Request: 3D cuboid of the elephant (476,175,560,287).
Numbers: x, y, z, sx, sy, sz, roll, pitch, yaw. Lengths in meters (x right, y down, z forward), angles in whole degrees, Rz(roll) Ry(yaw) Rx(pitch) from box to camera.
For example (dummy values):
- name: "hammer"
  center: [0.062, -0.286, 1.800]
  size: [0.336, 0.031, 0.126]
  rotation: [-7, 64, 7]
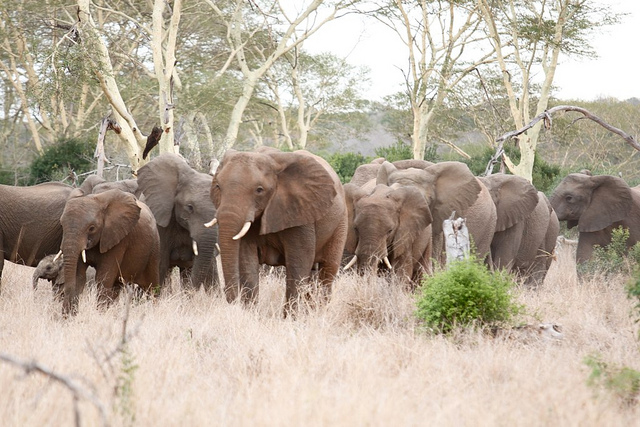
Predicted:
- name: "elephant"
  center: [3.514, 0.332, 11.768]
  size: [1.077, 1.119, 1.917]
  rotation: [4, -5, 33]

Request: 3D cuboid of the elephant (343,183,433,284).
- name: "elephant"
  center: [1.011, 0.286, 9.948]
  size: [1.038, 1.233, 1.732]
  rotation: [-1, -6, 16]

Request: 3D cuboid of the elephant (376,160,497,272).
- name: "elephant"
  center: [2.014, -0.025, 10.883]
  size: [1.405, 1.357, 2.313]
  rotation: [-3, -8, 43]

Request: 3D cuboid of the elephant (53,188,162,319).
- name: "elephant"
  center: [-3.078, 0.653, 9.446]
  size: [1.081, 1.843, 2.162]
  rotation: [-1, -6, 14]

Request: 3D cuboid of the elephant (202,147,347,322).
- name: "elephant"
  center: [-0.564, 0.327, 9.092]
  size: [1.607, 2.430, 3.033]
  rotation: [4, 3, 28]
